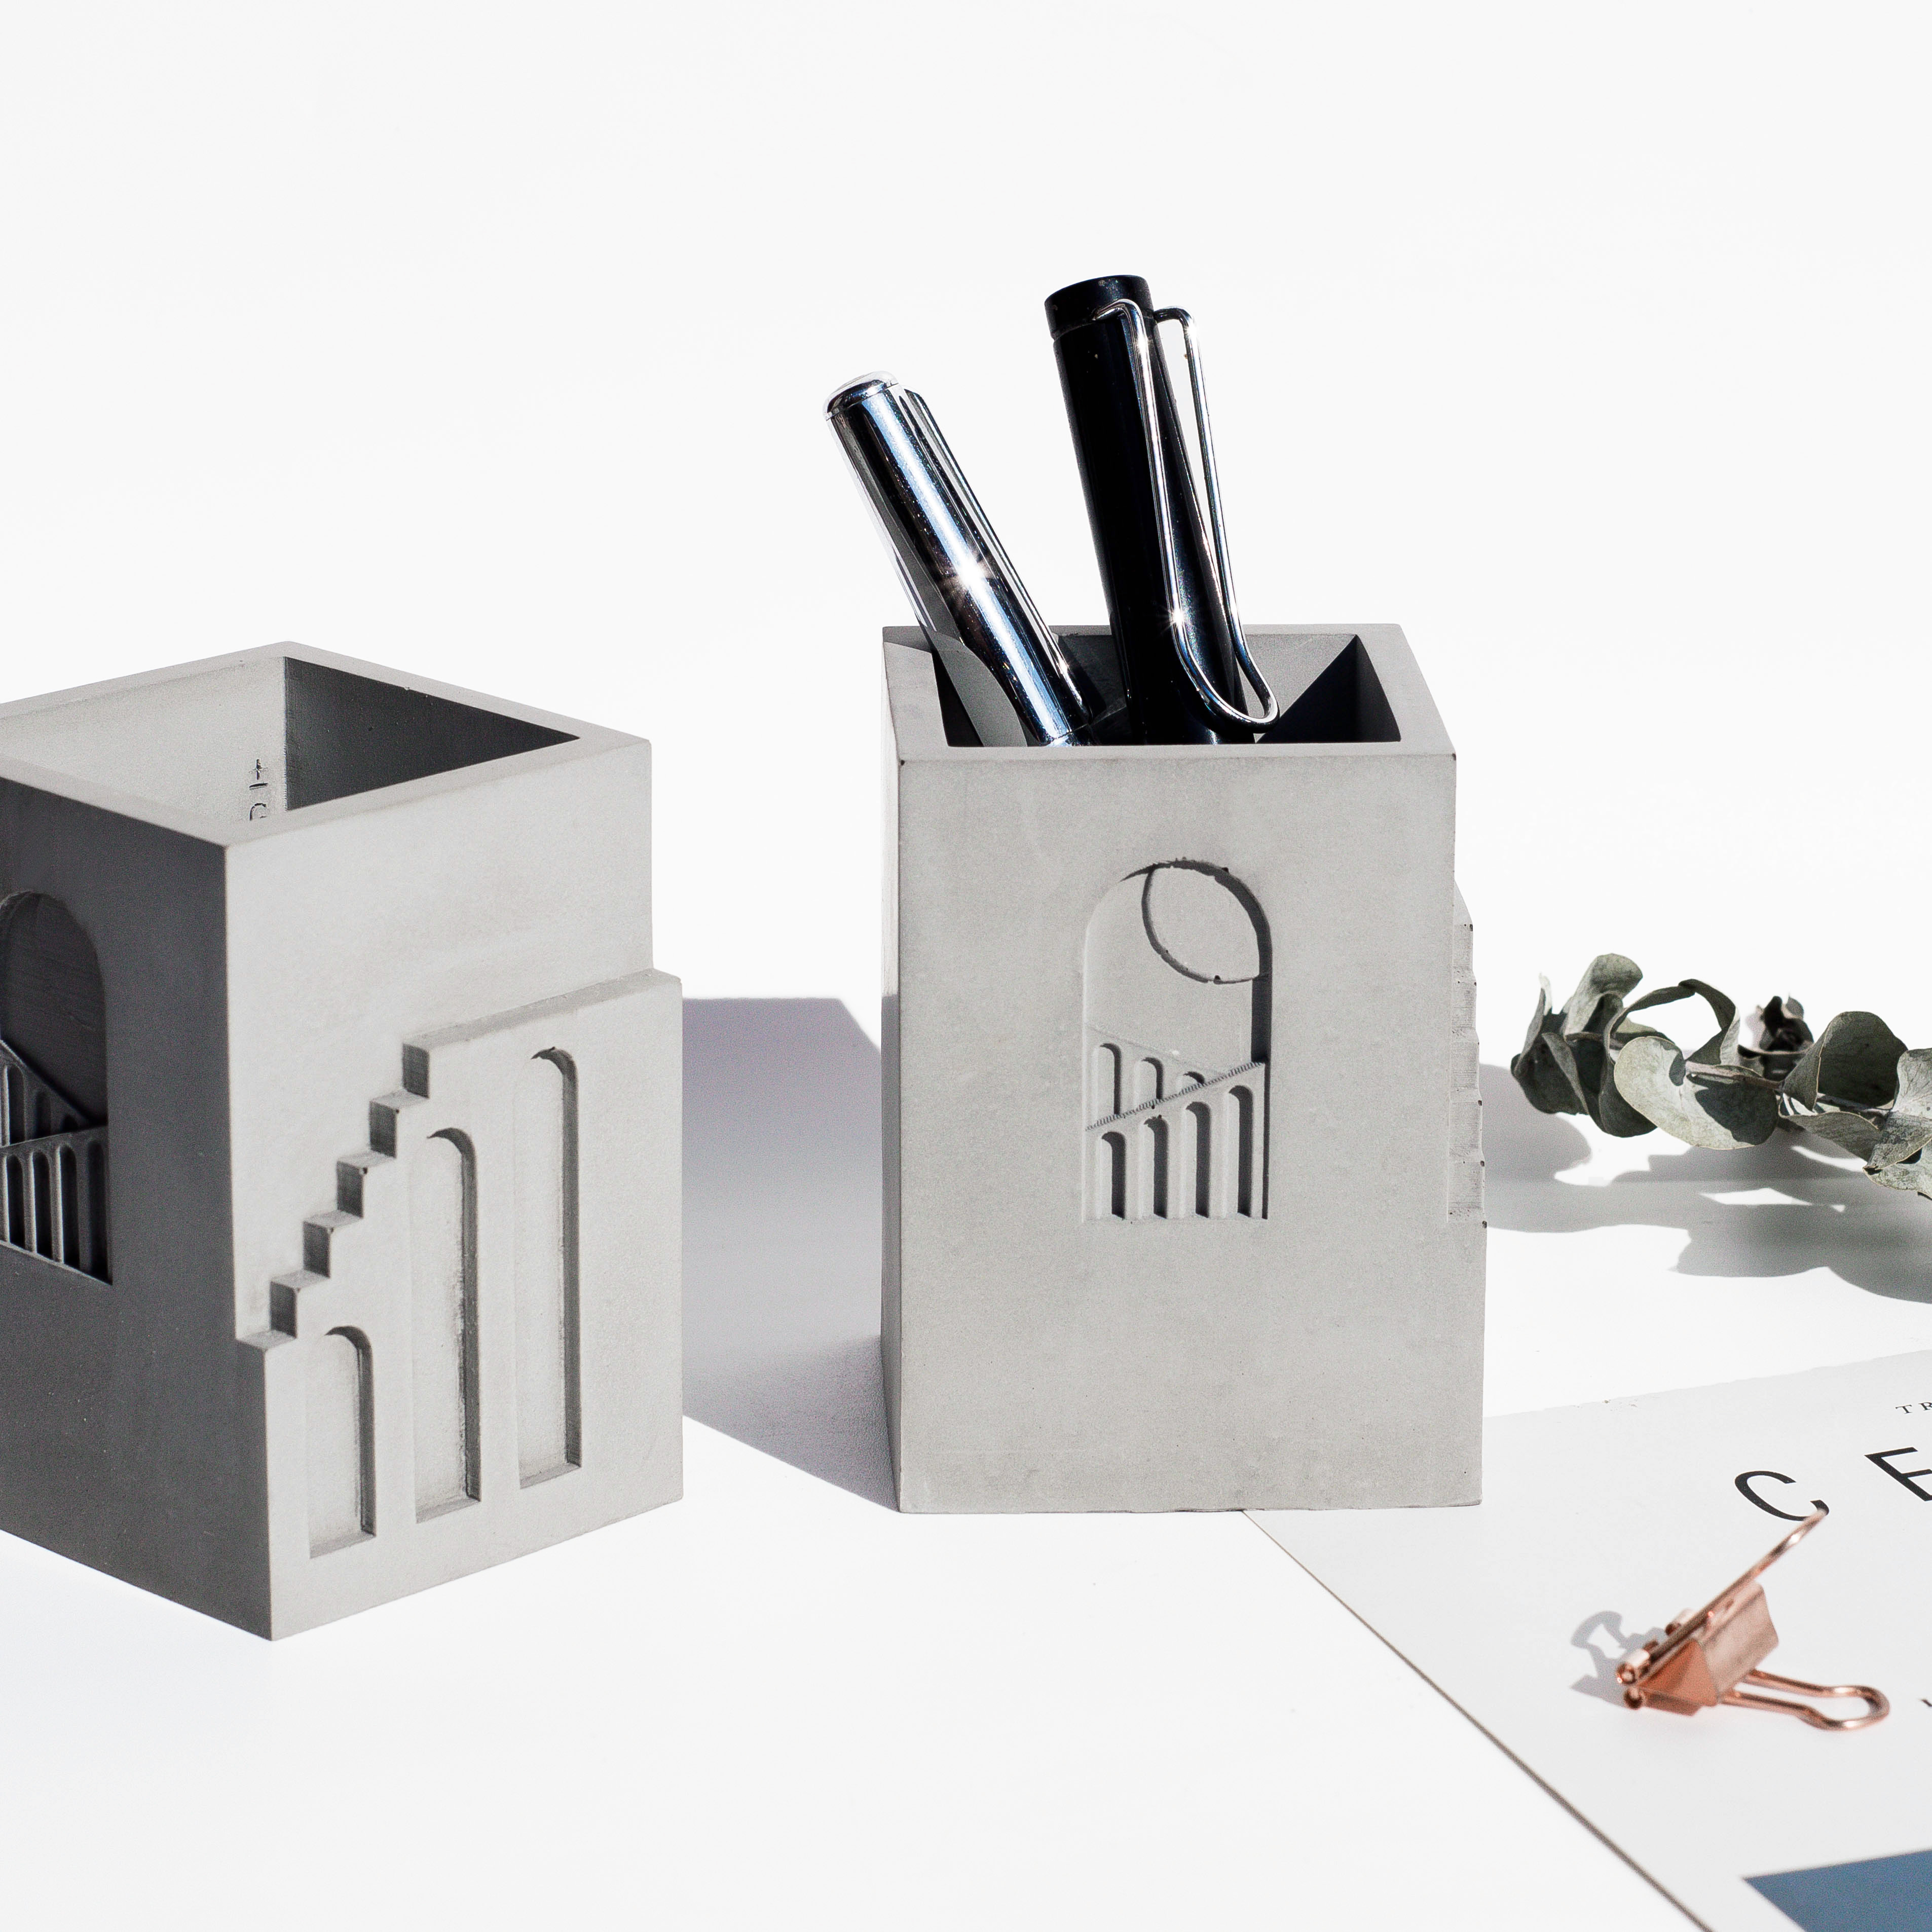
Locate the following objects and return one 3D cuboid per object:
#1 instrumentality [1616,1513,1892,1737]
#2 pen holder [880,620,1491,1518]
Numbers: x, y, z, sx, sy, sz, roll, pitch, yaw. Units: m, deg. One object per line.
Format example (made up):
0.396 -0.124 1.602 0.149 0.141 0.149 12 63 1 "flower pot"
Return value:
0.230 0.204 0.979 0.060 0.056 0.039 28 36 16 "instrumentality"
0.066 0.024 1.144 0.230 0.337 0.234 -2 25 1 "pen holder"
